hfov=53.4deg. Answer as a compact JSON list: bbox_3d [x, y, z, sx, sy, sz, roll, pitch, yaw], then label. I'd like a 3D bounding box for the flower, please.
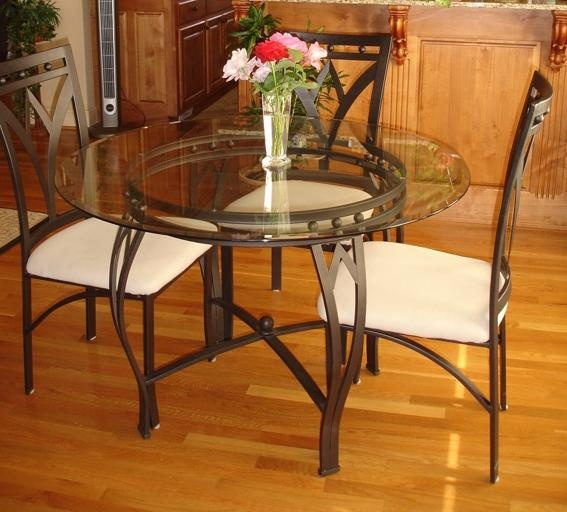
[{"bbox_3d":[-0.015,-0.428,1.616,0.308,0.304,0.309,-1,11,21],"label":"flower"}]

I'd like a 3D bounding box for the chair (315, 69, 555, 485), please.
[{"bbox_3d":[0.413,0.044,1.585,0.533,1.092,0.515,8,19,19],"label":"chair"}]

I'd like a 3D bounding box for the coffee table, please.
[{"bbox_3d":[-0.001,0.187,1.949,1.289,0.744,1.165,12,27,21],"label":"coffee table"}]
